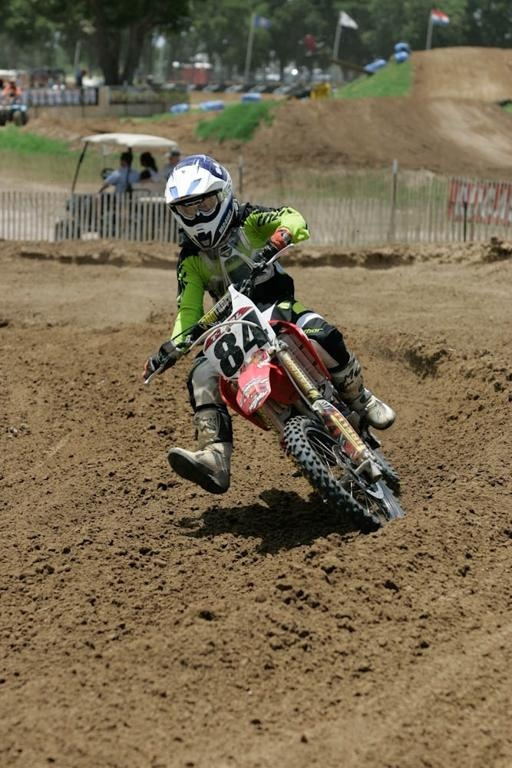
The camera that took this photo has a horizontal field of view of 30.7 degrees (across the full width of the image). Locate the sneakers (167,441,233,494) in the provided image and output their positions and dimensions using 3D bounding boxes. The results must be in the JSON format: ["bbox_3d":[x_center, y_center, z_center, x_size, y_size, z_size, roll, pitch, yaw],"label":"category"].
[{"bbox_3d":[-0.296,0.461,5.002,0.317,0.122,0.290,36,42,-14],"label":"sneakers"}]

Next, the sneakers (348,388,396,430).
[{"bbox_3d":[0.671,0.155,5.378,0.375,0.134,0.167,35,-1,4],"label":"sneakers"}]

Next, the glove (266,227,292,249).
[{"bbox_3d":[0.118,-0.738,4.693,0.053,0.094,0.130,35,16,-25],"label":"glove"}]

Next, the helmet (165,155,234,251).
[{"bbox_3d":[-0.266,-0.977,4.832,0.364,0.380,0.484,-12,31,15],"label":"helmet"}]
